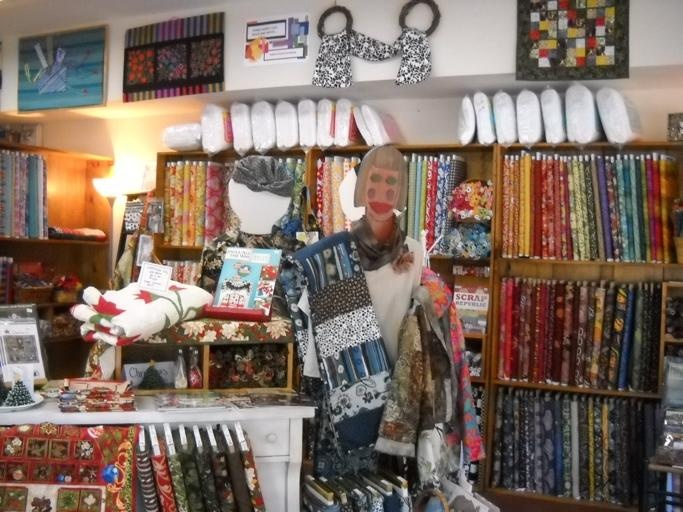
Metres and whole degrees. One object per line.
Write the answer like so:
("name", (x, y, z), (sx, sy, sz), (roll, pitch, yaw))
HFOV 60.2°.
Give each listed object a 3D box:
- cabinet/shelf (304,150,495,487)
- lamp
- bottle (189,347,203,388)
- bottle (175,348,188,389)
("cabinet/shelf", (0.236, 0.271, 3.056), (0.900, 1.712, 0.385), (-2, -2, -15))
("lamp", (-2.200, -0.264, 5.634), (0.317, 1.113, 0.995), (-1, -2, -23))
("bottle", (-0.729, 0.554, 2.947), (0.069, 0.211, 0.044), (-2, -2, -21))
("bottle", (-0.808, 0.562, 2.970), (0.062, 0.193, 0.072), (-2, -2, -16))
